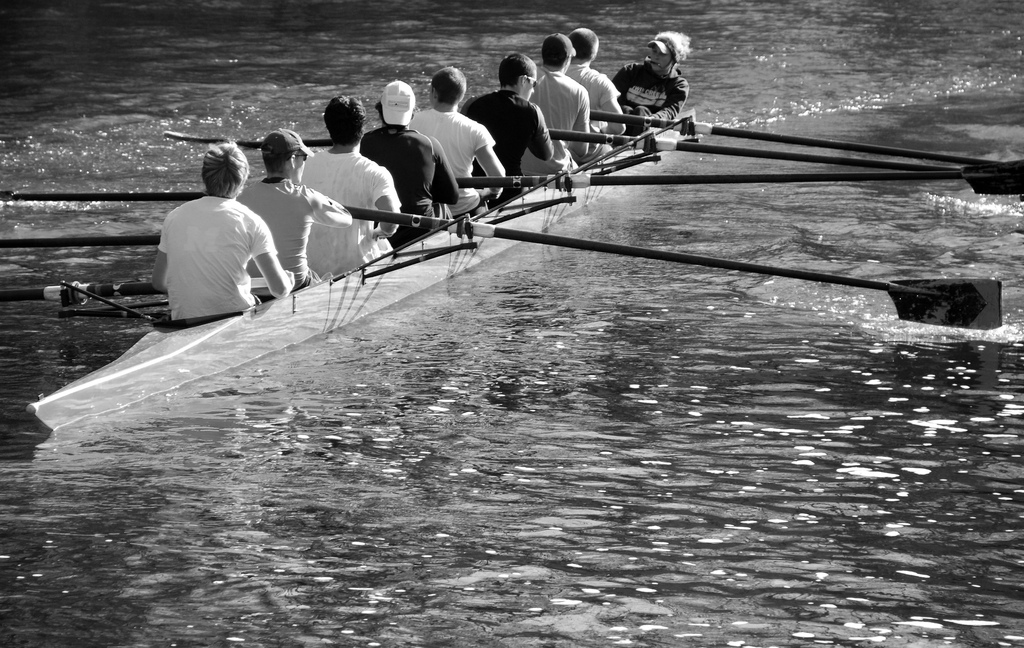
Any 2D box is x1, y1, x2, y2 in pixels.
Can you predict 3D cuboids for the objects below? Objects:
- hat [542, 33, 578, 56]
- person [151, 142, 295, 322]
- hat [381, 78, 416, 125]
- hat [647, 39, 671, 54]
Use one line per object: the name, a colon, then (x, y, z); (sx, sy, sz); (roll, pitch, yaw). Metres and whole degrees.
hat: (0.467, -2.609, 15.523); (0.286, 0.209, 0.232); (-8, 15, -24)
person: (-1.995, -0.618, 11.178); (0.931, 1.225, 0.315); (-4, 17, -7)
hat: (-0.877, -1.721, 12.803); (0.331, 0.184, 0.336); (2, 52, -2)
hat: (1.538, -2.908, 17.356); (0.127, 0.147, 0.252); (-12, 16, -33)
